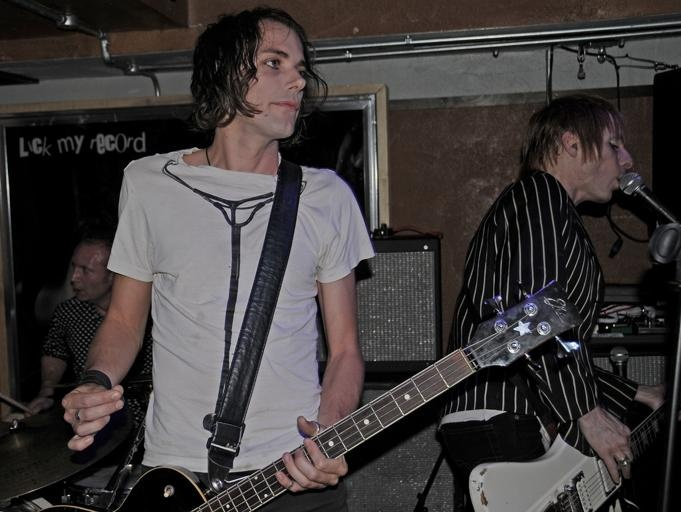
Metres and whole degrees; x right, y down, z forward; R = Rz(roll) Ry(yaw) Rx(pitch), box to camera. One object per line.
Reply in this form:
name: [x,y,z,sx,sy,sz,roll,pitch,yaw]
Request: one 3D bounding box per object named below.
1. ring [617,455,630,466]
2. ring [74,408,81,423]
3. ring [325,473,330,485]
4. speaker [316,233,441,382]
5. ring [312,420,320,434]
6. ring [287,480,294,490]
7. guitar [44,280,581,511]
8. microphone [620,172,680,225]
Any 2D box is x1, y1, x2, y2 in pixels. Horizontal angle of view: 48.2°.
ring: [1.125,0.807,3.010,0.031,0.015,0.048,10,-34,-12]
ring: [-0.875,0.531,2.524,0.010,0.037,0.025,3,-12,-36]
ring: [-0.044,0.755,2.554,0.021,0.022,0.005,-4,4,-36]
speaker: [0.275,0.269,4.116,0.759,1.142,0.642,-2,-6,7]
ring: [-0.080,0.579,2.582,0.027,0.041,0.035,-4,24,-3]
ring: [-0.169,0.764,2.548,0.022,0.035,0.010,1,7,-11]
guitar: [0.027,0.503,2.659,1.575,0.892,0.272,2,7,-11]
microphone: [1.465,-0.281,3.558,0.103,0.116,0.388,-27,48,-9]
